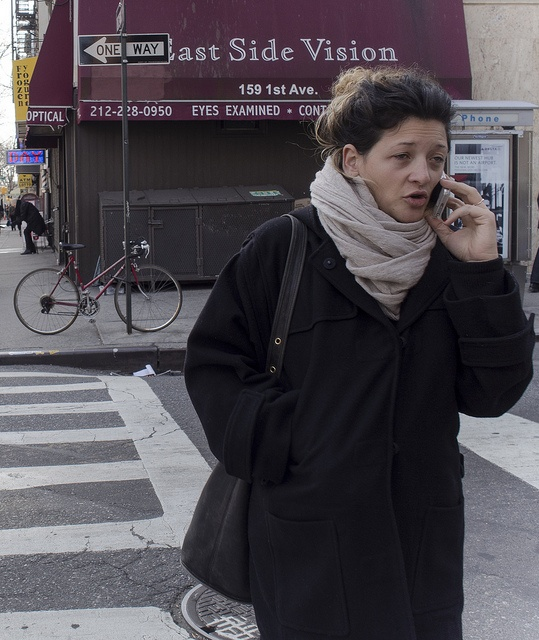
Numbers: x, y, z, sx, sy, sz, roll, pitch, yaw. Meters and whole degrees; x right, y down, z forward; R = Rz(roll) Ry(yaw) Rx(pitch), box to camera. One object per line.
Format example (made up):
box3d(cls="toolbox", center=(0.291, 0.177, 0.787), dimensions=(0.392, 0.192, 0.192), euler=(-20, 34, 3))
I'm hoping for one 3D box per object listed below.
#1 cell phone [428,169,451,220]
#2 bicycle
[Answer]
box3d(cls="cell phone", center=(0.378, -0.278, 1.679), dimensions=(0.022, 0.088, 0.068), euler=(11, -11, -14))
box3d(cls="bicycle", center=(-2.303, -0.407, 9.940), dimensions=(2.194, 1.146, 0.927), euler=(-1, 7, -5))
